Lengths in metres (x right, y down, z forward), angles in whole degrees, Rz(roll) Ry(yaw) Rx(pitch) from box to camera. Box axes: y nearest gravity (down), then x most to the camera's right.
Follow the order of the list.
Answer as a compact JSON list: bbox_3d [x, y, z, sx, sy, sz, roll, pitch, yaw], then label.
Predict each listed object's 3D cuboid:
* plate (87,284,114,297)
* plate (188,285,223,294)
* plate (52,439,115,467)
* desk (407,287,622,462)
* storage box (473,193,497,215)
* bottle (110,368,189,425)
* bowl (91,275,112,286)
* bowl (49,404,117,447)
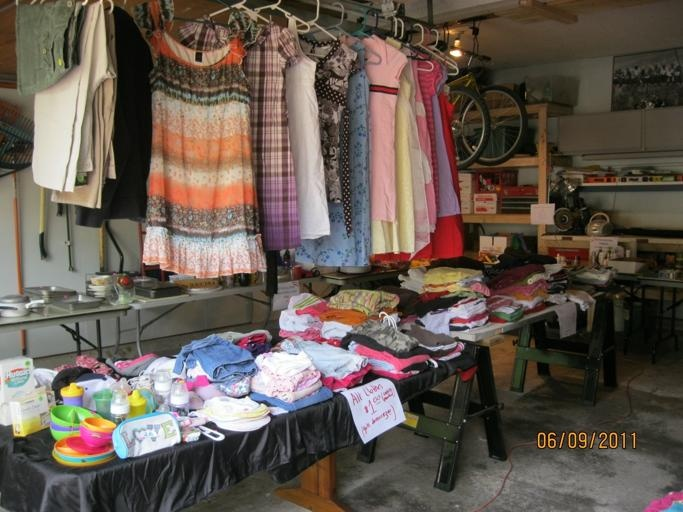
[{"bbox_3d":[-2.065,0.281,4.476,0.133,0.072,0.129,2,3,24],"label":"plate"},{"bbox_3d":[-1.223,0.301,4.759,0.110,0.064,0.305,7,11,38],"label":"plate"},{"bbox_3d":[-0.935,0.691,1.881,0.230,0.056,0.107,1,9,11],"label":"plate"},{"bbox_3d":[1.426,0.619,4.510,1.188,0.841,1.989,1,3,41],"label":"desk"},{"bbox_3d":[2.017,-0.729,7.423,0.317,0.203,0.306,2,5,26],"label":"storage box"},{"bbox_3d":[-0.792,0.563,2.194,0.209,0.183,0.083,16,-35,-18],"label":"bottle"},{"bbox_3d":[-2.048,0.204,4.494,0.121,0.048,0.117,1,2,0],"label":"bowl"},{"bbox_3d":[-0.954,0.608,1.961,0.198,0.079,0.169,6,-8,36],"label":"bowl"}]
